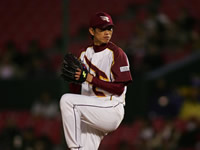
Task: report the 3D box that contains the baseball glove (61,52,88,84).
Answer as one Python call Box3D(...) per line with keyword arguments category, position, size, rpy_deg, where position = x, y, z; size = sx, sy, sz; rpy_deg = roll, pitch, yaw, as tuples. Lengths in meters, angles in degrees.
Box3D(category="baseball glove", position=(-0.457, -0.096, 6.659), size=(0.408, 0.524, 0.192), rpy_deg=(-45, -5, -5))
